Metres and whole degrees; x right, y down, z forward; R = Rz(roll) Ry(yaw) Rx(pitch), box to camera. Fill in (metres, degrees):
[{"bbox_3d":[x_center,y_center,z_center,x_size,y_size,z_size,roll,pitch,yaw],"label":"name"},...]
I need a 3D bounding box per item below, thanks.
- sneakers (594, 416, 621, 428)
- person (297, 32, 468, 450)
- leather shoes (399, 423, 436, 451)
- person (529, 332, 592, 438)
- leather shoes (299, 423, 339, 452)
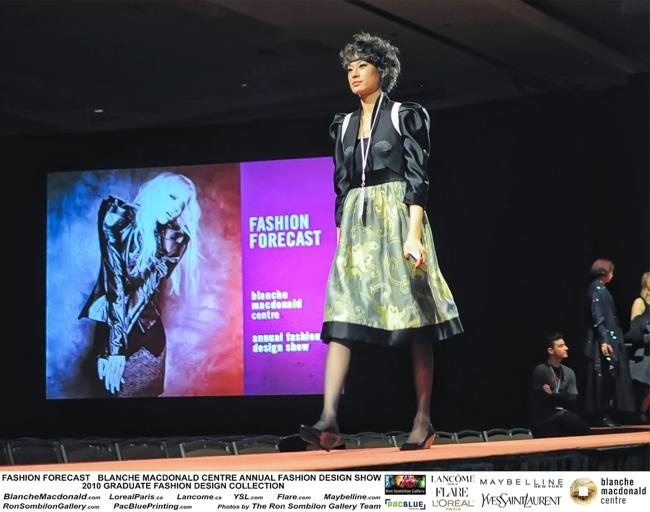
[{"bbox_3d":[2.536,1.500,5.628,0.243,0.103,0.080,-14,-16,37],"label":"sneakers"},{"bbox_3d":[0.353,-0.177,3.907,0.901,2.714,0.501,-1,-5,-3],"label":"person"},{"bbox_3d":[0.536,1.126,3.807,0.285,0.168,0.100,-1,-7,4],"label":"leather shoes"},{"bbox_3d":[1.927,1.062,5.178,0.427,0.773,0.592,-3,-5,17],"label":"person"},{"bbox_3d":[-0.035,1.057,3.612,0.234,0.175,0.179,-1,-5,-11],"label":"leather shoes"}]
